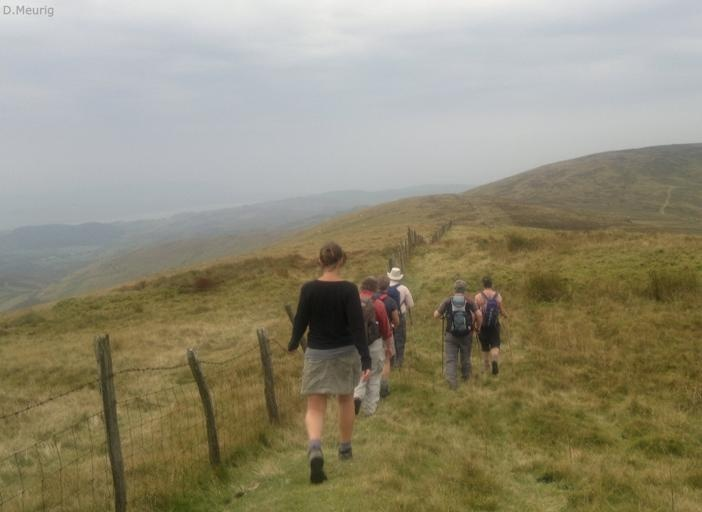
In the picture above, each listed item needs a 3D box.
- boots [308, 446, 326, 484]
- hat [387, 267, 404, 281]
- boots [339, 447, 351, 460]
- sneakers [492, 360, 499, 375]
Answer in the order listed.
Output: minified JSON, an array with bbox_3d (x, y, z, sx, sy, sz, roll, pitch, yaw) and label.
[{"bbox_3d":[-0.685,4.181,11.271,0.262,0.834,0.360,0,5,-3],"label":"boots"},{"bbox_3d":[1.291,0.538,16.725,0.455,0.221,0.559,5,3,1],"label":"hat"},{"bbox_3d":[-0.113,4.162,11.984,0.193,0.296,0.274,3,-20,17],"label":"boots"},{"bbox_3d":[4.232,3.255,16.614,0.141,0.450,0.266,-2,9,27],"label":"sneakers"}]
